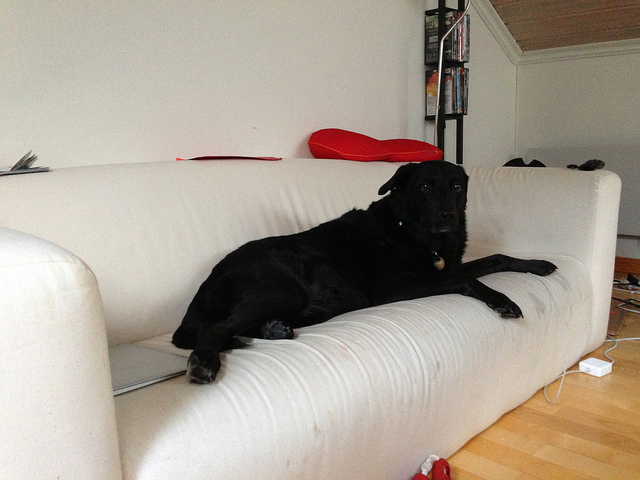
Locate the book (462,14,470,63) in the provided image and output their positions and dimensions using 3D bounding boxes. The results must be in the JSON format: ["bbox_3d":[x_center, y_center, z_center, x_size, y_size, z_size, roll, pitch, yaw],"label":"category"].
[{"bbox_3d":[1.253,-1.730,4.073,0.049,0.368,0.300,3,12,20],"label":"book"}]

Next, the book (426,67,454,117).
[{"bbox_3d":[1.013,-1.263,4.003,0.233,0.396,0.149,1,12,13],"label":"book"}]

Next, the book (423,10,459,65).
[{"bbox_3d":[1.002,-1.702,3.935,0.287,0.408,0.148,1,12,14],"label":"book"}]

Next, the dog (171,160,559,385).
[{"bbox_3d":[0.128,0.224,1.771,1.135,0.516,0.710,-14,2,-3],"label":"dog"}]

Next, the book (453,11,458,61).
[{"bbox_3d":[1.116,-1.689,3.906,0.033,0.358,0.140,1,12,14],"label":"book"}]
